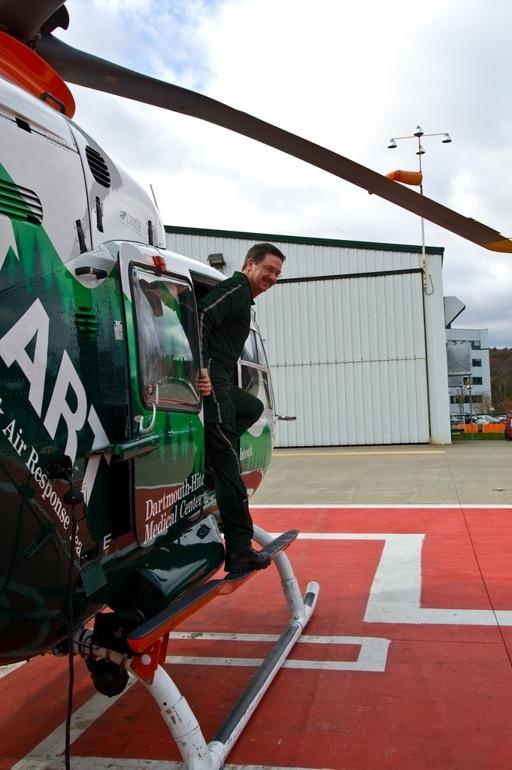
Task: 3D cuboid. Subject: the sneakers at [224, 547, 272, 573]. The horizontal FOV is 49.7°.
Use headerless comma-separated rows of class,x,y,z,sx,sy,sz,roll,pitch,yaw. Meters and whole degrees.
sneakers,-0.033,0.735,2.384,0.221,0.111,0.084,-2,-4,-19
